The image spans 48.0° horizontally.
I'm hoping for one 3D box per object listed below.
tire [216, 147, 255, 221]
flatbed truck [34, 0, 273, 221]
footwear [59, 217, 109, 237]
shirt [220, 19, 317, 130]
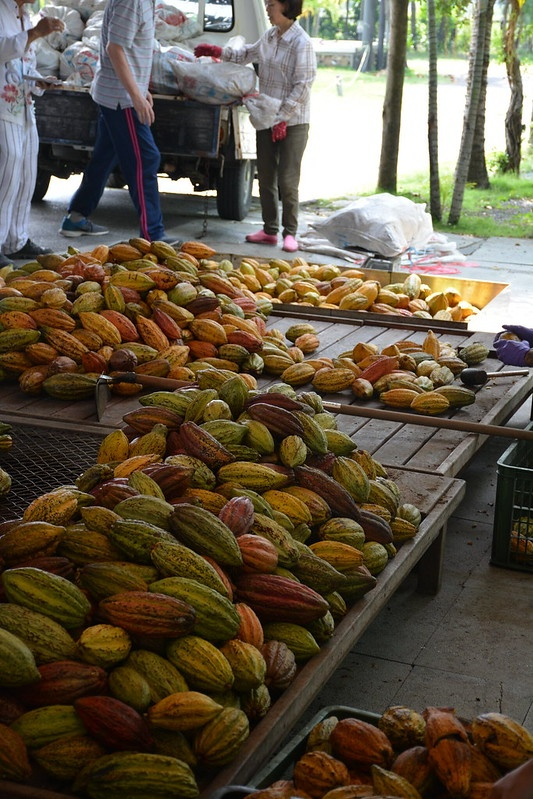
[{"bbox_3d":[-0.519,-3.447,9.553,0.344,0.955,1.016,6,12,17],"label":"tire"},{"bbox_3d":[-1.319,-4.953,9.832,2.992,2.468,4.460,11,30,15],"label":"flatbed truck"},{"bbox_3d":[-2.510,-2.340,8.138,0.696,0.273,0.238,-11,35,-34],"label":"footwear"},{"bbox_3d":[0.071,-4.287,8.016,1.082,1.295,0.741,14,21,43],"label":"shirt"}]
